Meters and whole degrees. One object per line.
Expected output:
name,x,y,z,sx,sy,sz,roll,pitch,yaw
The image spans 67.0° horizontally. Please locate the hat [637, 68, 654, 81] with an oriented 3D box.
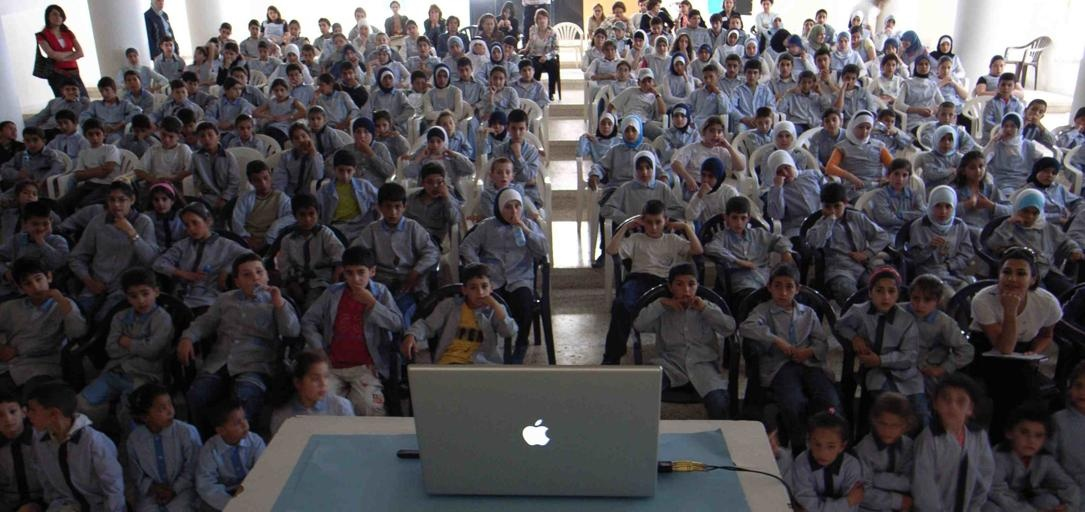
hat,1.995,-3.539,15.855,0.366,0.216,0.471,-1,-6,9
